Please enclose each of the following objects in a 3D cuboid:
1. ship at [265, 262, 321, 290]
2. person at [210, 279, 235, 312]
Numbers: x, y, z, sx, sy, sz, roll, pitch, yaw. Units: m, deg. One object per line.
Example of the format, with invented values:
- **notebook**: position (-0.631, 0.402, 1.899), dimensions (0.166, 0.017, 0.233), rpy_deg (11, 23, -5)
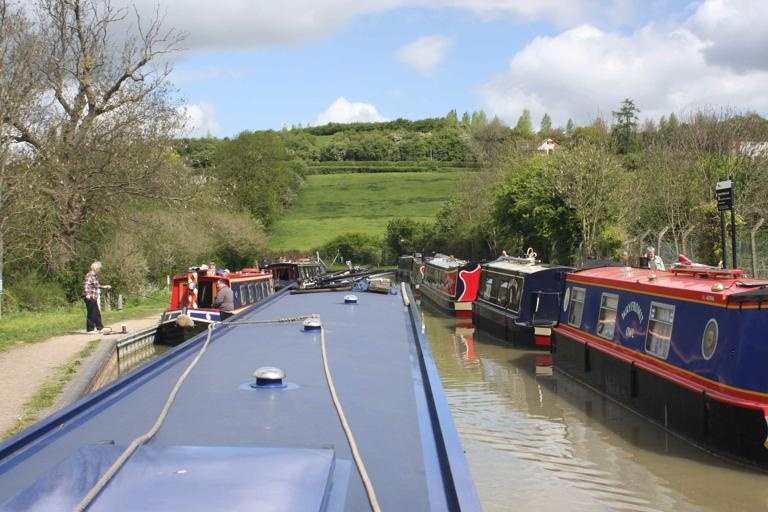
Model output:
- **ship**: position (-4.332, 0.945, 34.506), dimensions (1.115, 1.405, 5.263), rpy_deg (-2, -3, 7)
- **person**: position (-4.931, 1.277, 21.495), dimensions (0.550, 0.897, 1.063), rpy_deg (2, 7, -13)
